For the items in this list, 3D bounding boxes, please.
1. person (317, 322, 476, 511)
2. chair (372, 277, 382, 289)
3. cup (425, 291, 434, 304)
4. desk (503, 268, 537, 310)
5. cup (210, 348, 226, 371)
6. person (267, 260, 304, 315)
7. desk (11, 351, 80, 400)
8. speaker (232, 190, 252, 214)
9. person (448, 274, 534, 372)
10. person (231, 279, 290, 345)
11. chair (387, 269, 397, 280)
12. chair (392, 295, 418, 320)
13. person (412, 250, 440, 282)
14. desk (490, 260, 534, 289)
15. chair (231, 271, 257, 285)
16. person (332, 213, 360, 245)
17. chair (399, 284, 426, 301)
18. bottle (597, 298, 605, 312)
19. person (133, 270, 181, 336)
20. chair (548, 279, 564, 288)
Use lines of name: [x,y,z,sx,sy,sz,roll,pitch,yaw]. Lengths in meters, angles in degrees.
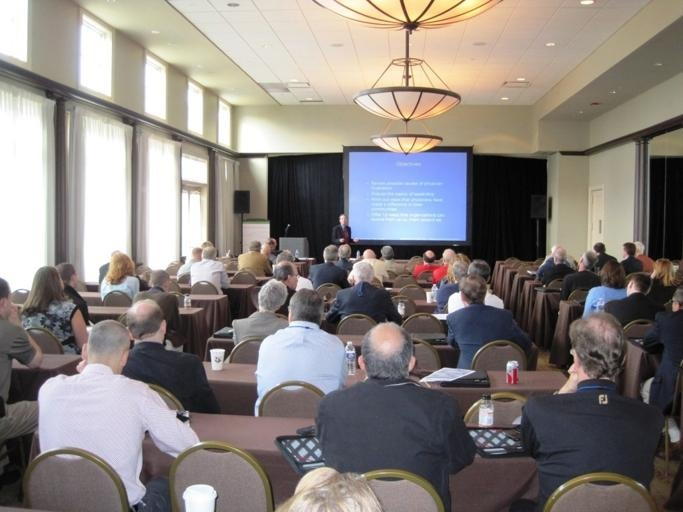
person: [0.249,0.763,2.523,0.719,0.826,0.347,1,4,12]
chair: [0.518,0.382,7.855,0.108,0.140,0.147,0,-10,-1]
cup: [1.164,0.544,7.165,0.105,0.156,0.126,-2,3,-11]
desk: [3.343,0.664,9.951,0.617,0.827,0.610,5,11,20]
cup: [-0.933,0.793,4.225,0.143,0.173,0.145,-1,-5,0]
person: [-0.620,0.500,6.228,0.332,0.873,0.252,-11,17,-42]
desk: [-2.254,0.892,4.178,0.334,0.352,0.358,2,1,-3]
speaker: [-2.930,-1.578,16.034,0.451,0.645,0.310,-1,4,-12]
person: [1.431,0.632,5.186,0.580,1.262,0.728,-7,28,13]
person: [-0.821,0.555,5.500,0.408,0.934,0.460,10,29,0]
chair: [0.900,0.333,9.631,0.137,0.115,0.148,-1,3,-4]
chair: [0.734,0.593,6.412,0.214,0.416,0.257,0,-7,-8]
person: [1.605,0.190,10.396,0.367,0.963,0.336,4,31,2]
desk: [3.507,0.391,11.295,0.715,0.541,0.494,-3,5,-44]
chair: [-1.628,0.378,9.202,0.247,0.179,0.268,1,-3,-3]
person: [0.051,-0.655,14.118,0.588,0.803,1.906,0,4,4]
chair: [0.961,0.508,7.493,0.224,0.259,0.242,1,-3,1]
bottle: [2.769,0.517,5.813,0.089,0.114,0.157,1,4,11]
person: [-2.047,0.637,6.160,0.544,0.967,0.542,1,0,-14]
chair: [3.225,0.424,8.258,0.152,0.174,0.152,-2,10,-6]
